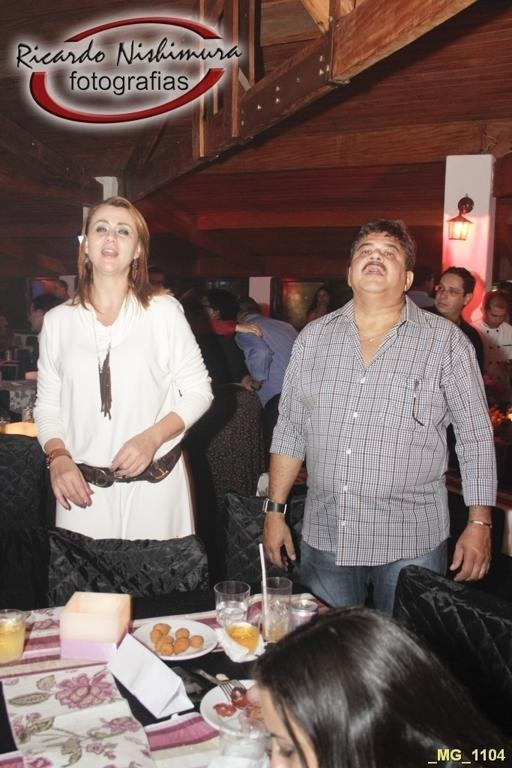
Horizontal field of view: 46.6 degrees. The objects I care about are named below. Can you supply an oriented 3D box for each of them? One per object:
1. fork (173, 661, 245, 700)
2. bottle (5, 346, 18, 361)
[{"bbox_3d":[-0.080,0.484,0.988,0.042,0.019,0.164,11,-11,-24],"label":"fork"},{"bbox_3d":[-2.532,-0.317,6.124,0.152,0.153,0.148,2,3,33],"label":"bottle"}]
